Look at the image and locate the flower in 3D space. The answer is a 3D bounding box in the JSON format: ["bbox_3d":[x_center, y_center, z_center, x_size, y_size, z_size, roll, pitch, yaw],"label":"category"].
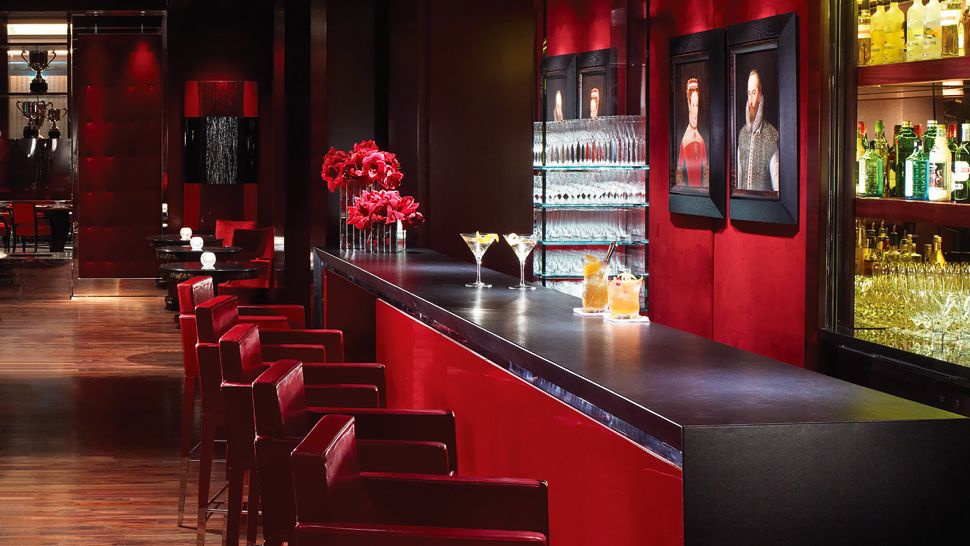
[{"bbox_3d":[-0.761,-0.630,5.786,0.777,0.728,0.749,-2,-2,40],"label":"flower"}]

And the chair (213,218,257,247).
[{"bbox_3d":[-4.097,-0.660,12.215,0.594,0.658,0.573,7,-8,-36],"label":"chair"}]

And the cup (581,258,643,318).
[{"bbox_3d":[0.580,0.064,3.353,0.312,0.236,0.218,5,17,26],"label":"cup"}]
